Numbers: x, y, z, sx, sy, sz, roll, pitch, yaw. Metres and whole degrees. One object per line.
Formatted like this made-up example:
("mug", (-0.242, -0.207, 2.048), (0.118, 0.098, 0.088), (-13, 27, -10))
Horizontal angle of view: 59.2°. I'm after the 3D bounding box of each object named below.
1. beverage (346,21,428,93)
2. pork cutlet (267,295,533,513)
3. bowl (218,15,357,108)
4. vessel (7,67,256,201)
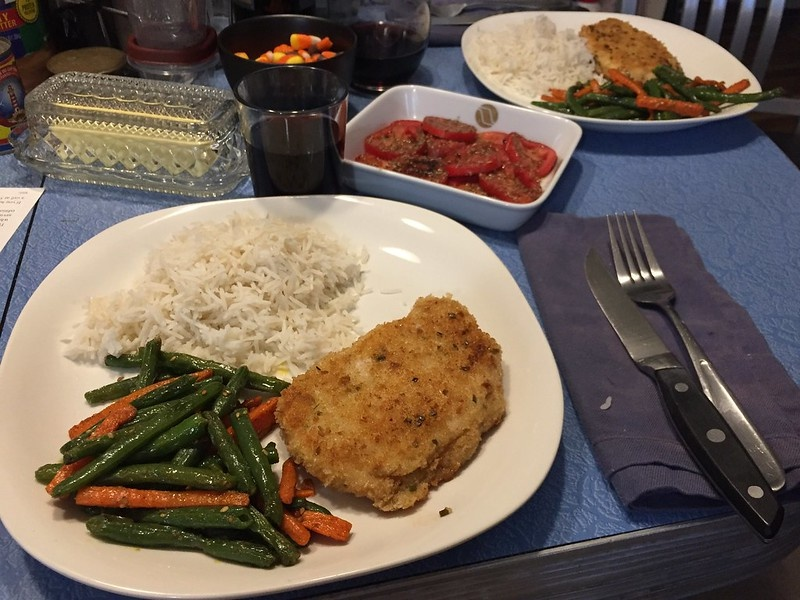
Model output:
("beverage", (-0.055, -1.017, 2.978), (0.263, 0.151, 0.263), (-1, 40, -1))
("pork cutlet", (0.006, 0.273, 1.871), (0.619, 0.124, 0.466), (-31, 61, -22))
("bowl", (-0.447, -0.974, 2.624), (0.464, 0.226, 0.465), (1, 29, 0))
("vessel", (-0.937, -0.577, 2.503), (0.922, 0.312, 0.417), (8, 46, 5))
